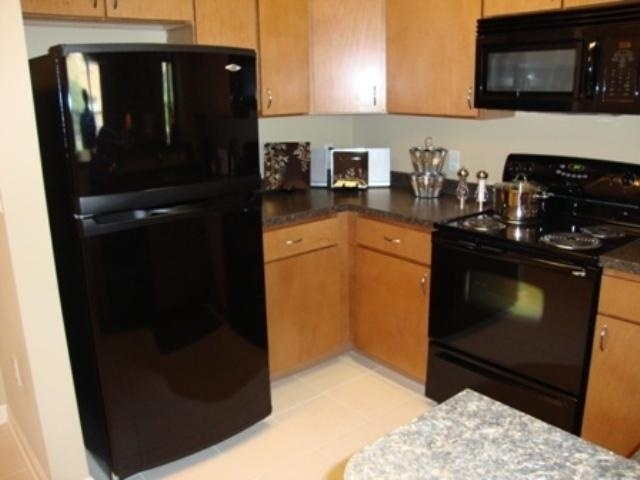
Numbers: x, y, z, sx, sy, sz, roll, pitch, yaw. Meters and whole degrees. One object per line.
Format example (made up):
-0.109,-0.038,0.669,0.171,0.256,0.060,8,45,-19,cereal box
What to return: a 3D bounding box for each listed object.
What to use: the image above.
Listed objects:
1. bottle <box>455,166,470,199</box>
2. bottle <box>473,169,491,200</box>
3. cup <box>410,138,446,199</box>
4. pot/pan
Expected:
0.866,-0.348,3.066,0.076,0.187,0.206,3,17,15,bottle
0.955,-0.319,2.976,0.069,0.182,0.238,3,17,17,bottle
0.673,-0.454,3.150,0.283,0.386,0.291,-1,22,0,cup
1.009,-0.192,2.571,0.200,0.220,0.313,-17,28,-30,pot/pan
